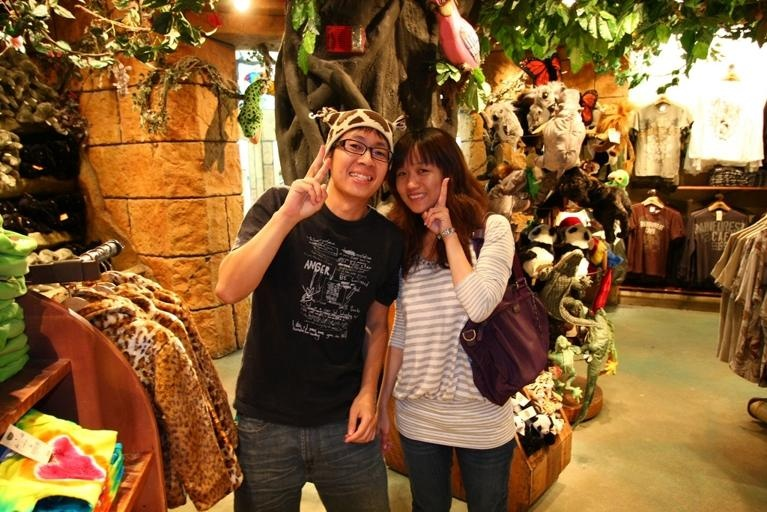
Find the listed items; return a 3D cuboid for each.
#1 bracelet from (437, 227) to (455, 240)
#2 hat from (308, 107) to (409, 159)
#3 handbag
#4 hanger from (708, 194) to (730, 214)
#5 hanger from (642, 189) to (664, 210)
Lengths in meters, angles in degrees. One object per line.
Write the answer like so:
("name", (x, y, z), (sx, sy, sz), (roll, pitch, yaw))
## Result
("bracelet", (0.265, -0.095, 2.144), (0.061, 0.058, 0.052), (-37, 2, -28))
("hat", (-0.097, -0.543, 2.078), (0.405, 0.150, 0.362), (5, 18, -6))
("handbag", (0.574, 0.337, 2.165), (0.409, 0.631, 0.261), (-12, 18, -37))
("hanger", (4.640, -0.711, 6.713), (0.073, 0.162, 0.308), (7, -9, -16))
("hanger", (3.933, -0.824, 7.085), (0.395, 0.243, 0.017), (1, -32, 27))
